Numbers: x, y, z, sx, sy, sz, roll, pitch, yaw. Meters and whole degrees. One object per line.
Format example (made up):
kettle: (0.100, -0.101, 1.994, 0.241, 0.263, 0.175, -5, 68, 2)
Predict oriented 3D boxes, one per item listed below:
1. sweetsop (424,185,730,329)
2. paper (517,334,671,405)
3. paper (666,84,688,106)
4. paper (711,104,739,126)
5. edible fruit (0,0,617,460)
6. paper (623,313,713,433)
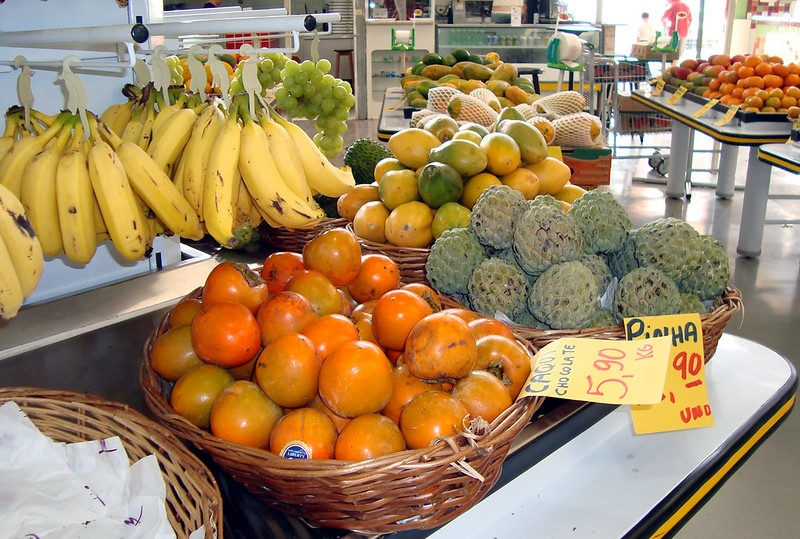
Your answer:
sweetsop: (0.485, -0.020, 1.500, 0.518, 0.253, 0.472, 2, -2, -13)
paper: (0.413, 0.209, 1.133, 0.230, 0.059, 0.181, 5, 50, 25)
paper: (2.608, -1.642, 5.262, 0.034, 0.192, 0.099, 50, 19, 29)
paper: (2.489, -1.160, 4.245, 0.033, 0.192, 0.099, 25, 11, -25)
edible fruit: (-0.127, -0.001, 1.181, 0.668, 0.676, 0.755, -14, 23, -38)
paper: (0.582, 0.232, 1.216, 0.241, 0.275, 0.013, 3, -15, -19)
